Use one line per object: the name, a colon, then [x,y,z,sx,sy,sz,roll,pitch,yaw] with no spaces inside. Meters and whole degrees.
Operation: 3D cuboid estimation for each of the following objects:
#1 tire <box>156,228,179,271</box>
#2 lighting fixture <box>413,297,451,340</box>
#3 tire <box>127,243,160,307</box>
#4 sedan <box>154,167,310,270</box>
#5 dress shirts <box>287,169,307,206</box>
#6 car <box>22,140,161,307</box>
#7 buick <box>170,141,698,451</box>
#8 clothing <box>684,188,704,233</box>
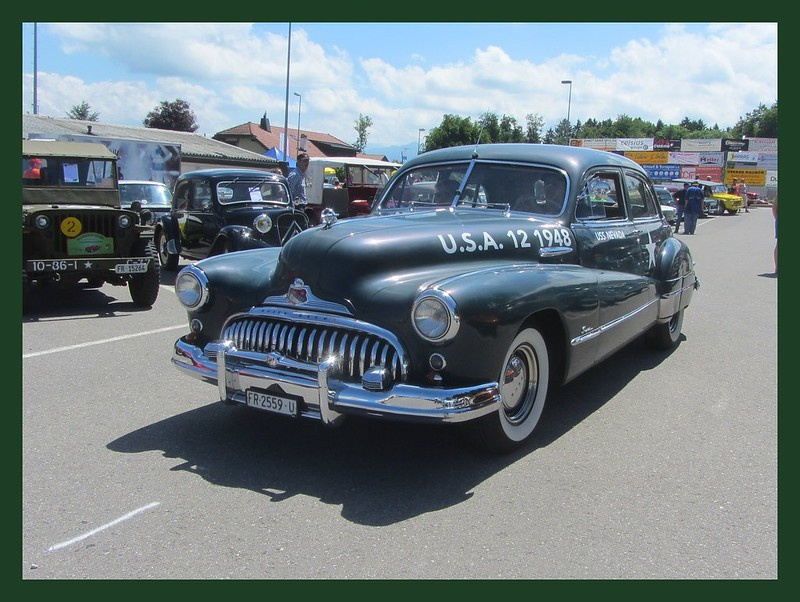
tire: [-4.990,-1.218,12.696,0.195,0.754,0.745,-13,54,-5]
lighting fixture: [0.174,0.104,3.506,0.219,0.243,0.057,-2,-1,18]
tire: [-3.713,-0.361,8.712,0.432,0.909,0.508,-6,14,-26]
sedan: [-3.136,-1.581,11.715,2.380,1.907,4.062,-9,16,-39]
dress shirts: [-2.040,-2.287,12.032,0.358,0.779,0.756,-2,8,-2]
car: [-4.724,-1.120,8.952,1.721,2.265,2.236,-8,15,-33]
buick: [0.994,-0.445,6.106,2.898,2.128,6.048,7,13,38]
clothing: [10.099,-3.135,20.668,0.585,1.724,0.408,5,29,21]
